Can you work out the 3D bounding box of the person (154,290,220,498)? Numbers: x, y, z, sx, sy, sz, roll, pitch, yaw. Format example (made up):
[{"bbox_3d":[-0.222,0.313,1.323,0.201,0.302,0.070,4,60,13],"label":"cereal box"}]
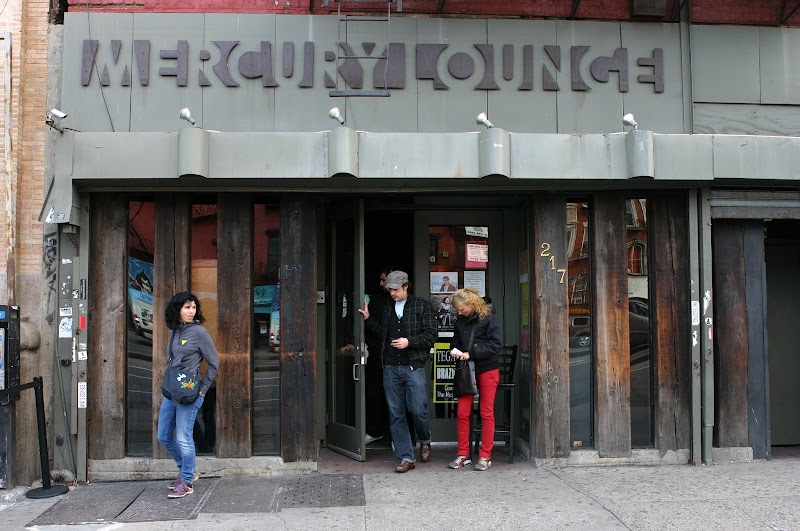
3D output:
[{"bbox_3d":[-2.739,1.640,12.226,0.768,2.599,0.449,-1,-1,-4],"label":"person"}]

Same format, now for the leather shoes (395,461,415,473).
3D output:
[{"bbox_3d":[0.049,2.709,12.962,0.108,0.147,0.305,-7,-14,32],"label":"leather shoes"}]

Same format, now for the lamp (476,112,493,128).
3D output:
[{"bbox_3d":[1.119,-1.928,12.856,0.239,0.136,0.180,40,3,-26],"label":"lamp"}]

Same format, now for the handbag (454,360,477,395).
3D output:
[{"bbox_3d":[0.871,1.499,12.855,0.423,0.587,0.186,0,1,17],"label":"handbag"}]

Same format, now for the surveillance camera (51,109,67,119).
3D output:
[{"bbox_3d":[-4.561,-2.022,12.725,0.205,0.152,0.342,-1,-1,-20],"label":"surveillance camera"}]

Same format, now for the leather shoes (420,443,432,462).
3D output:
[{"bbox_3d":[0.331,2.590,13.281,0.171,0.221,0.497,0,-10,-1],"label":"leather shoes"}]

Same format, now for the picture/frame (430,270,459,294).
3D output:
[{"bbox_3d":[0.633,0.239,14.259,0.308,0.291,0.047,0,3,-3],"label":"picture/frame"}]

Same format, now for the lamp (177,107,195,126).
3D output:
[{"bbox_3d":[-2.878,-1.991,12.756,0.156,0.103,0.278,-1,23,-30],"label":"lamp"}]

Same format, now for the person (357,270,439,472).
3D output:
[{"bbox_3d":[0.053,1.423,13.150,0.874,2.698,0.525,-1,-1,-2],"label":"person"}]

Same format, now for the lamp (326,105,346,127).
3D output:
[{"bbox_3d":[-0.866,-2.014,12.859,0.242,0.275,0.304,-1,-1,-4],"label":"lamp"}]

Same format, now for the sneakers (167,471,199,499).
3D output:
[{"bbox_3d":[-2.809,2.842,12.313,0.187,0.196,0.462,5,-5,22],"label":"sneakers"}]

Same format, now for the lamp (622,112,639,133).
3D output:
[{"bbox_3d":[3.112,-1.940,13.003,0.219,0.305,0.434,-2,-1,14],"label":"lamp"}]

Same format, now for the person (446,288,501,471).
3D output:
[{"bbox_3d":[0.993,1.542,13.120,0.734,2.444,0.644,-1,-1,0],"label":"person"}]

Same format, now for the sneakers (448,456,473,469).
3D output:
[{"bbox_3d":[0.802,2.695,13.132,0.364,0.169,0.131,6,-10,-40],"label":"sneakers"}]

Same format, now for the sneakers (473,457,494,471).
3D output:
[{"bbox_3d":[1.145,2.674,13.063,0.177,0.181,0.424,-2,-1,34],"label":"sneakers"}]
